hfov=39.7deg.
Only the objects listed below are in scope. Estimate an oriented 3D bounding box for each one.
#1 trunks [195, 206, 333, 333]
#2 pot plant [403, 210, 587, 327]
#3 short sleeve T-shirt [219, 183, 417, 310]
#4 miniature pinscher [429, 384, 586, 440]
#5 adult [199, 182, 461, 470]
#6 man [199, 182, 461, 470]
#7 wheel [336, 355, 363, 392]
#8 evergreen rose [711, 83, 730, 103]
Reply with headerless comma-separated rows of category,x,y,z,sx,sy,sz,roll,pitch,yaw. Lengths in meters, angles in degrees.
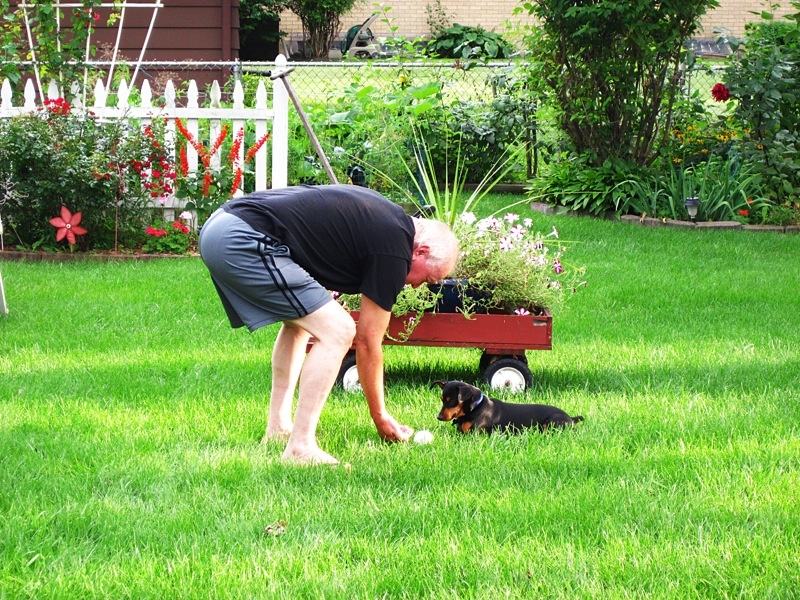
trunks,-0.851,-0.212,6.596,0.623,0.807,0.674,-1,-10,-25
pot plant,0.679,-0.235,7.959,1.079,0.621,0.923,2,3,-37
short sleeve T-shirt,-0.584,-0.408,6.638,1.250,0.633,1.063,2,26,-11
miniature pinscher,0.665,0.750,6.995,0.918,0.455,0.291,0,3,-10
adult,-0.496,0.093,6.938,1.306,1.636,1.620,10,10,44
man,-0.474,0.098,6.953,1.717,1.673,1.289,0,7,-25
wheel,-0.342,0.491,7.565,0.228,0.234,0.231,0,4,0
evergreen rose,3.914,-2.564,13.517,0.228,0.232,0.173,1,15,14
